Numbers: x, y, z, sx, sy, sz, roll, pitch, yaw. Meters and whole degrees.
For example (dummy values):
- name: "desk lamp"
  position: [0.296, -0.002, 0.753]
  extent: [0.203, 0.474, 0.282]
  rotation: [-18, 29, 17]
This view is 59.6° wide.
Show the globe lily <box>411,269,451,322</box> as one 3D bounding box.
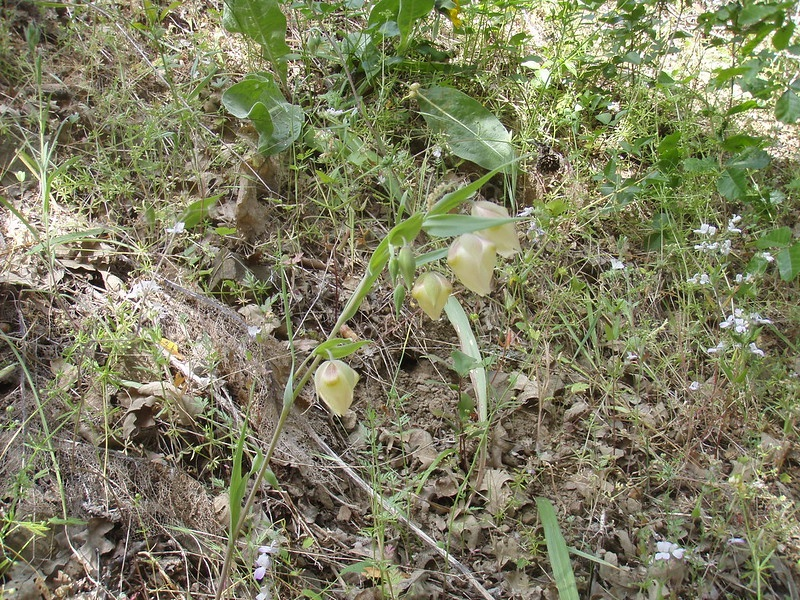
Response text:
- name: "globe lily"
  position: [0.123, -0.012, 2.488]
  extent: [0.129, 0.154, 0.217]
  rotation: [-2, 76, -20]

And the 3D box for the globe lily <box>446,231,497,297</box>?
- name: "globe lily"
  position: [0.231, -0.096, 2.533]
  extent: [0.175, 0.188, 0.237]
  rotation: [-29, 84, -1]
